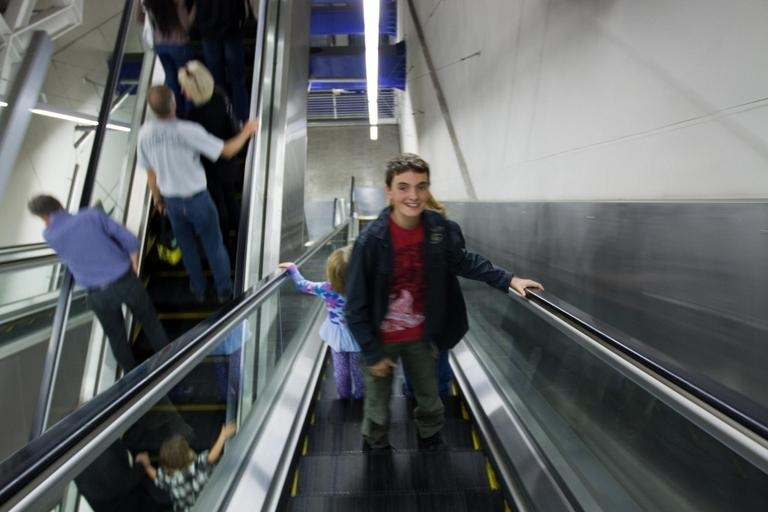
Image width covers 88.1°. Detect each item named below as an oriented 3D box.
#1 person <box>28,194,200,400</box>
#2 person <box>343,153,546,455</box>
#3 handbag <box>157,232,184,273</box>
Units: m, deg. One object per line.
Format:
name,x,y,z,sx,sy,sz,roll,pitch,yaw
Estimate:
person,-2.138,0.272,3.064,0.732,1.491,0.406,-6,14,-29
person,0.383,0.405,2.578,1.369,1.911,0.648,-3,7,-11
handbag,-2.050,-0.041,3.796,0.155,0.319,0.240,-10,40,1
